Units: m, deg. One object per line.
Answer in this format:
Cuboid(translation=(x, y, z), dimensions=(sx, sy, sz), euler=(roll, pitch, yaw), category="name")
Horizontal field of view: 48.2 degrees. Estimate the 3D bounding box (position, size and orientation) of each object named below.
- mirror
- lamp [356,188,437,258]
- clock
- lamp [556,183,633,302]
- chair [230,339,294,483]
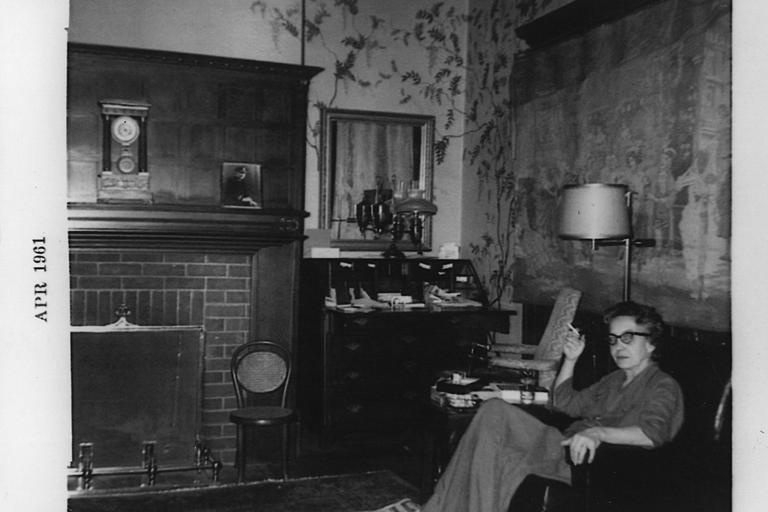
Cuboid(translation=(-0.106, -0.658, 7.483), dimensions=(1.529, 1.437, 0.075), euler=(1, -3, -18), category="mirror")
Cuboid(translation=(0.096, -0.283, 7.335), dimensions=(0.627, 0.596, 0.593), euler=(-2, 2, -8), category="lamp")
Cuboid(translation=(-1.965, -0.789, 6.513), dimensions=(0.412, 0.779, 0.154), euler=(-2, 3, -15), category="clock")
Cuboid(translation=(1.338, -0.082, 5.387), dimensions=(0.431, 0.725, 0.206), euler=(-2, 3, -5), category="lamp")
Cuboid(translation=(-0.906, 1.147, 6.471), dimensions=(0.484, 0.999, 0.824), euler=(-2, 3, -8), category="chair")
